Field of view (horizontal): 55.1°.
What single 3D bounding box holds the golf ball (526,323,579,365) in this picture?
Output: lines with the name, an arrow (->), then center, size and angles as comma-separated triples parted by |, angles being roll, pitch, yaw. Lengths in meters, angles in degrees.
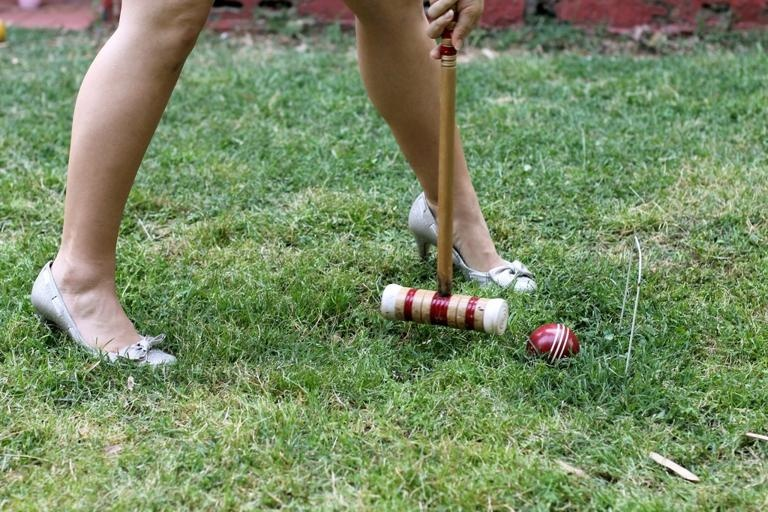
golf ball -> 0.606, 0.310, 2.638 | 0.164, 0.135, 0.124 | -2, 1, -3
